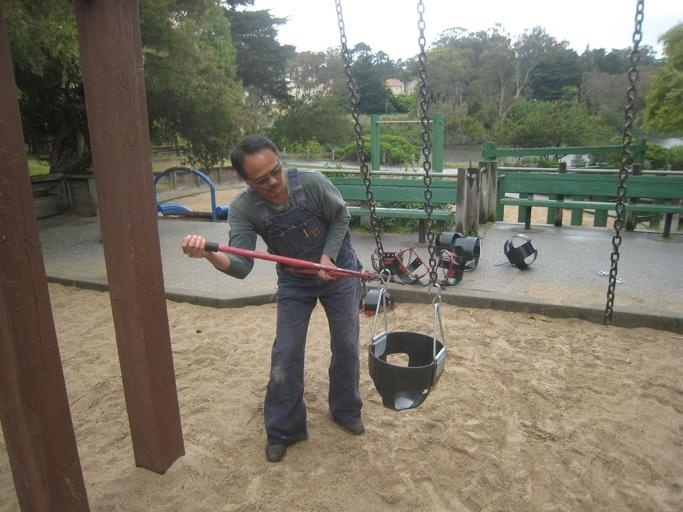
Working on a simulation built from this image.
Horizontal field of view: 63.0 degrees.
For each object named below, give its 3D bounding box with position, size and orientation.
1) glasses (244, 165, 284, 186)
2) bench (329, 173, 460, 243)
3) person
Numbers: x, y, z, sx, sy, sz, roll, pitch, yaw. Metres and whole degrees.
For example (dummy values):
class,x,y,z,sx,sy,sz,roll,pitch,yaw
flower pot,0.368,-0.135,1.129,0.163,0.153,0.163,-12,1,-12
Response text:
class,x,y,z,sx,sy,sz,roll,pitch,yaw
glasses,-0.503,-0.547,3.683,0.232,0.142,0.110,-2,13,-12
bench,0.846,-0.744,8.433,1.494,0.618,0.490,5,23,22
person,-0.383,0.407,4.334,1.069,2.540,1.295,5,12,1
